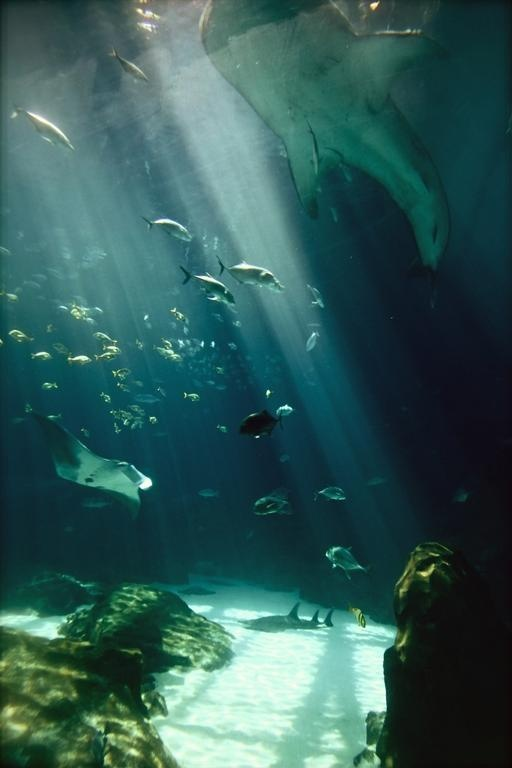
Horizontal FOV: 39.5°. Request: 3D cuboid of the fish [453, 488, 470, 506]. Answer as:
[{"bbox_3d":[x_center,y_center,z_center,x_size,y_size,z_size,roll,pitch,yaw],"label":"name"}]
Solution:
[{"bbox_3d":[3.358,1.830,11.629,0.170,0.453,0.244,2,-10,19],"label":"fish"}]
